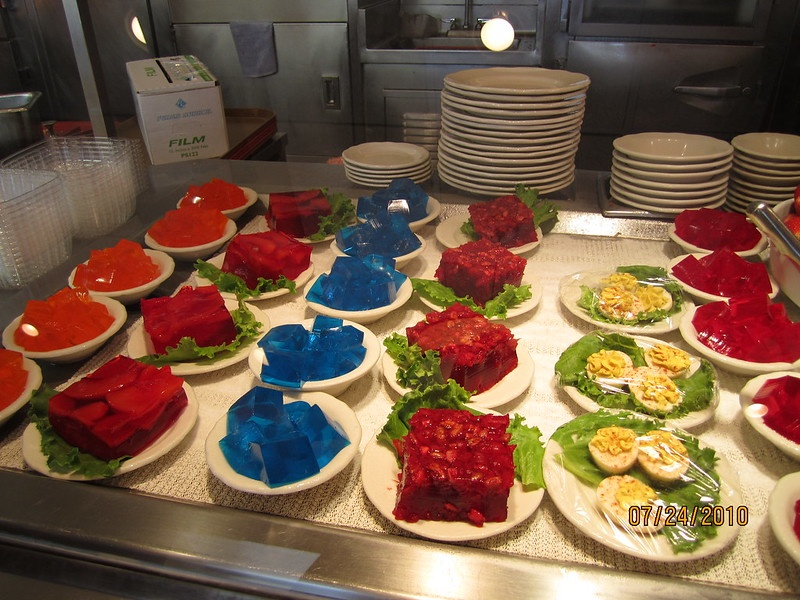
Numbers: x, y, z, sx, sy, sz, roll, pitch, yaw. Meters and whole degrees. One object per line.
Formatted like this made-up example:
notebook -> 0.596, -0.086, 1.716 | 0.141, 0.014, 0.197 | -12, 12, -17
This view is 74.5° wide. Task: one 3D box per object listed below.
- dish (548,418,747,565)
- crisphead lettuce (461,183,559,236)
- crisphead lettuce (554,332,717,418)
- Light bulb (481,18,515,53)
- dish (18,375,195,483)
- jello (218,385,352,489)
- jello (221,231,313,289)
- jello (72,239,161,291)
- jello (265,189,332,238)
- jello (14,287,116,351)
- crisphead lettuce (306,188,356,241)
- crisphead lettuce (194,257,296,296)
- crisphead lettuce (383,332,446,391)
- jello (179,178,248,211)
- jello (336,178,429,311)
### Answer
dish -> 0.468, 0.354, 1.031 | 0.360, 0.050, 0.307 | 26, 46, 32
crisphead lettuce -> 0.403, -0.288, 1.877 | 0.286, 0.107, 0.313 | -18, -17, 39
crisphead lettuce -> 0.562, 0.185, 1.247 | 0.212, 0.062, 0.227 | 3, 32, 11
Light bulb -> 0.269, -0.734, 1.458 | 0.076, 0.079, 0.042 | 5, 29, 1
dish -> -0.596, 0.262, 1.093 | 0.197, 0.041, 0.201 | 30, 40, 33
jello -> -0.225, 0.290, 1.106 | 0.216, 0.092, 0.220 | 22, 35, 25
jello -> -0.411, -0.143, 1.645 | 0.204, 0.070, 0.192 | -13, 36, -20
jello -> -0.844, -0.089, 1.560 | 0.168, 0.074, 0.171 | 24, 36, 30
jello -> -0.359, -0.301, 1.866 | 0.207, 0.104, 0.157 | 0, 33, 5
jello -> -0.871, 0.055, 1.369 | 0.171, 0.060, 0.178 | 15, 34, 16
crisphead lettuce -> -0.219, -0.289, 1.774 | 0.160, 0.089, 0.166 | -2, 19, -4
crisphead lettuce -> -0.495, -0.055, 1.623 | 0.168, 0.042, 0.172 | 18, 24, 39
crisphead lettuce -> 0.029, 0.144, 1.285 | 0.119, 0.046, 0.126 | 30, 25, 12
jello -> -0.660, -0.378, 1.889 | 0.145, 0.057, 0.144 | -9, 23, -37
jello -> -0.056, -0.189, 1.748 | 0.300, 0.138, 0.343 | -1, 36, 2
